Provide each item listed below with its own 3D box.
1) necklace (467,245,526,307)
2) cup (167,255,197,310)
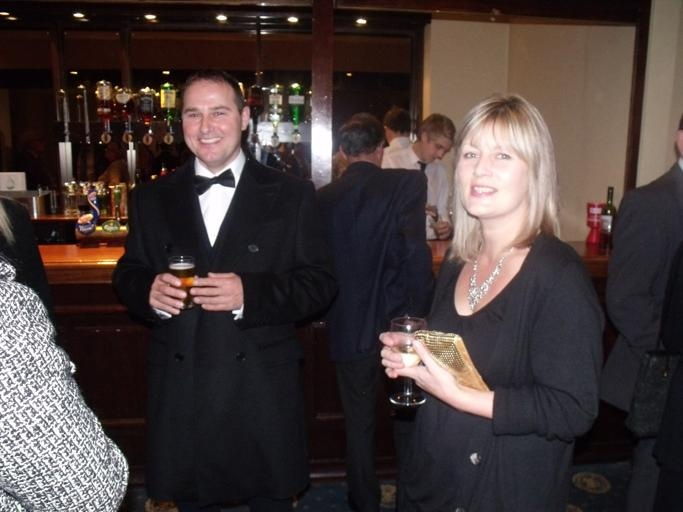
[{"bbox_3d":[0.509,0.071,1.921,0.049,0.175,0.181,28,-14,-7],"label":"necklace"},{"bbox_3d":[-0.585,0.095,2.176,0.086,0.193,0.093,-1,14,0],"label":"cup"}]
